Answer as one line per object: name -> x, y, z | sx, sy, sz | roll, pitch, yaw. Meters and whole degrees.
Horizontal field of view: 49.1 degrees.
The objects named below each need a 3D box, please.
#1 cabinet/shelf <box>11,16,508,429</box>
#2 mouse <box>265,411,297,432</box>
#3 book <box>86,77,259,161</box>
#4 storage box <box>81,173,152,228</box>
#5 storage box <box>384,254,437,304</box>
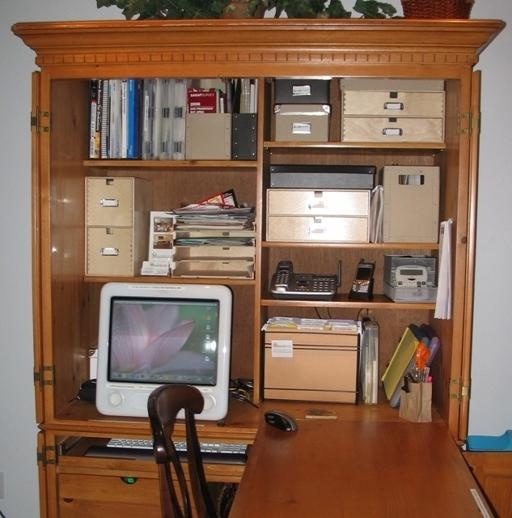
cabinet/shelf -> 0.052, -0.164, 2.322 | 2.081, 1.807, 0.521 | 1, 0, 2
mouse -> 0.087, 0.578, 1.987 | 0.096, 0.032, 0.055 | 5, 3, 35
book -> -0.330, -0.601, 2.380 | 0.392, 0.335, 0.126 | 0, 0, 1
storage box -> -0.620, -0.246, 2.422 | 0.184, 0.182, 0.255 | 0, 2, 2
storage box -> 0.662, 0.086, 2.392 | 0.202, 0.167, 0.200 | 0, -1, 4
